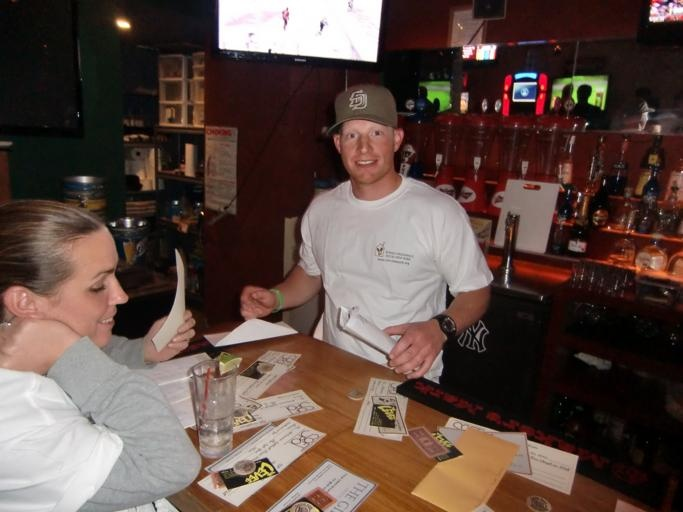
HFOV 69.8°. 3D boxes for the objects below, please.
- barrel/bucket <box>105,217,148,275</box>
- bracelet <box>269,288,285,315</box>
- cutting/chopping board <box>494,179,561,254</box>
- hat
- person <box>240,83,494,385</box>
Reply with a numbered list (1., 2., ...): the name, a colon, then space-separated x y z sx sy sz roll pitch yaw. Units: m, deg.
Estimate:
1. barrel/bucket: -1.332 -0.069 3.138 0.291 0.336 0.291 1 6 0
2. bracelet: -0.298 0.224 2.337 0.034 0.096 0.099 -7 13 -5
3. cutting/chopping board: 1.247 -0.257 3.237 0.390 0.541 0.022 17 16 31
4. hat: 0.091 -0.672 2.269 0.323 0.242 0.200 4 17 2
5. person: 0.170 -0.141 2.233 1.041 1.214 0.554 8 18 17
